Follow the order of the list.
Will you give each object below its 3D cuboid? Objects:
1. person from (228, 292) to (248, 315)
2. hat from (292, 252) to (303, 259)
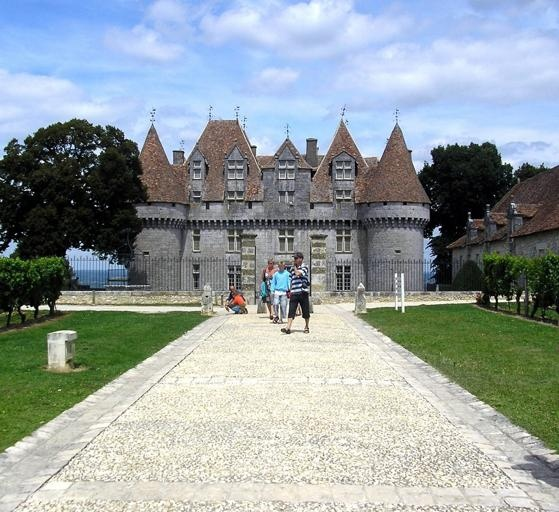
[{"bbox_3d":[-1.627,1.726,21.857,0.758,0.822,1.001,-1,-1,-4],"label":"person"},{"bbox_3d":[0.480,-0.034,14.498,0.209,0.128,0.142,3,-6,-40],"label":"hat"}]
